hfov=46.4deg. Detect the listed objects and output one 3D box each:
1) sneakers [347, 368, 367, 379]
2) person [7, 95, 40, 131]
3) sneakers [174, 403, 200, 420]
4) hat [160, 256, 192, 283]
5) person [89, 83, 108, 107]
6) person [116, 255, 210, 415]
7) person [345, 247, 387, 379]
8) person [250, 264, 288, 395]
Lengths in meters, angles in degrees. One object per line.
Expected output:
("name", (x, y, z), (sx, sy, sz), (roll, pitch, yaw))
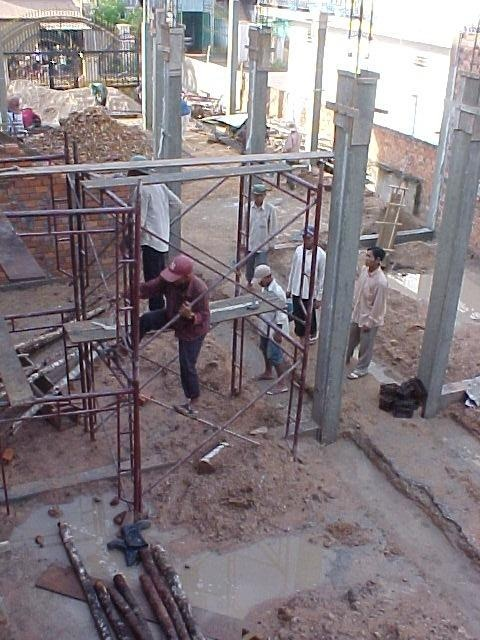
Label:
("sneakers", (1.314, 0.607, 6.353), (0.265, 0.132, 0.094), (-7, 10, -24))
("person", (-6.343, -5.998, 16.427), (0.863, 0.763, 2.023), (-5, 25, -21))
("sneakers", (-0.513, 0.877, 5.468), (0.268, 0.130, 0.111), (24, -4, 5))
("hat", (-0.493, -0.371, 4.333), (0.234, 0.274, 0.290), (1, 23, -9))
("person", (-4.810, -7.621, 19.105), (0.463, 0.689, 1.766), (-2, 24, -15))
("person", (-0.686, 0.116, 4.751), (0.813, 1.488, 0.583), (0, 23, -20))
("person", (1.380, -0.068, 6.109), (0.328, 1.583, 0.616), (8, 22, 12))
("person", (0.295, 0.171, 5.918), (0.429, 1.505, 0.615), (-14, 46, -14))
